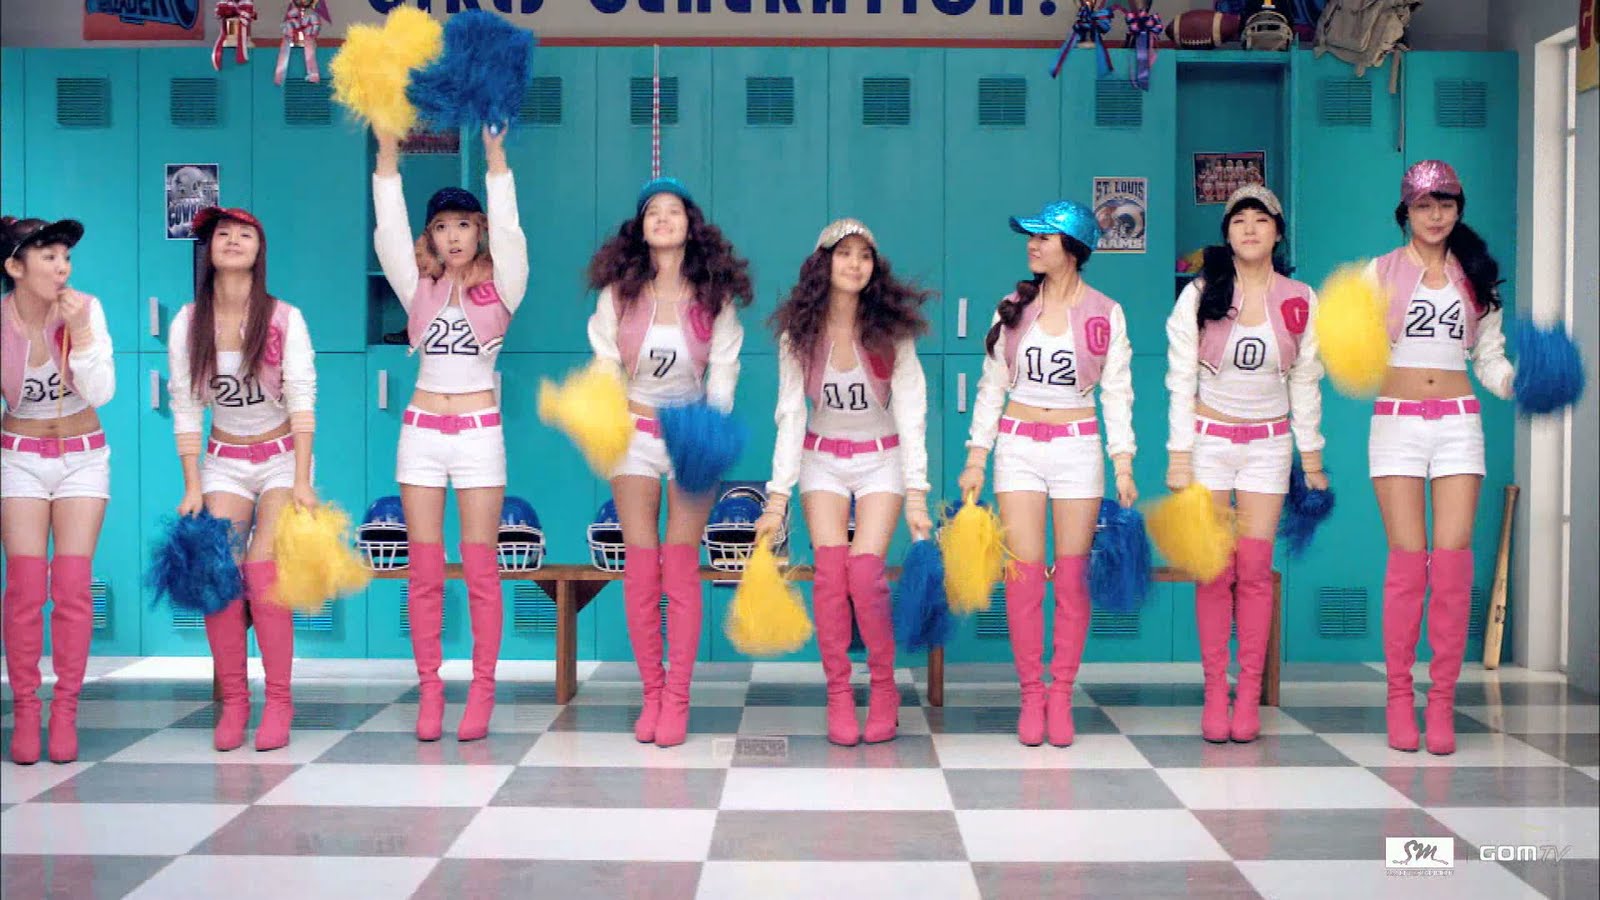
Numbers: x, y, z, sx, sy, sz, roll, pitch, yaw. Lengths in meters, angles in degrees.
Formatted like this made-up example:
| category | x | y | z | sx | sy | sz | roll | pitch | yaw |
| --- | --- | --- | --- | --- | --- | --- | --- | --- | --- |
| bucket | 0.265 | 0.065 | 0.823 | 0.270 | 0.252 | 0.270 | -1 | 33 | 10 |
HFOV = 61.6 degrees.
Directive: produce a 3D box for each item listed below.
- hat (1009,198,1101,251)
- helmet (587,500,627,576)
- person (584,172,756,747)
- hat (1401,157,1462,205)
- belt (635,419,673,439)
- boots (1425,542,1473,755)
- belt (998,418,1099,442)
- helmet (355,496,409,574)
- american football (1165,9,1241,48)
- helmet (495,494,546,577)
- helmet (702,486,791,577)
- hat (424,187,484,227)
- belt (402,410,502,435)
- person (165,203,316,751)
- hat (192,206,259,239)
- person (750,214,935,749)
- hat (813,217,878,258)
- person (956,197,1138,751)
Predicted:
| category | x | y | z | sx | sy | sz | roll | pitch | yaw |
| --- | --- | --- | --- | --- | --- | --- | --- | --- | --- |
| hat | 1.315 | -1.161 | 6.881 | 0.440 | 0.204 | 0.269 | 6 | 11 | -4 |
| helmet | -1.070 | 0.487 | 7.381 | 0.306 | 0.309 | 0.379 | 1 | -3 | -5 |
| person | -0.654 | 0.062 | 6.916 | 0.747 | 2.819 | 0.743 | -4 | 14 | -16 |
| hat | 3.197 | -1.349 | 6.767 | 0.266 | 0.209 | 0.149 | 4 | 14 | 15 |
| belt | -0.777 | -0.111 | 6.832 | 0.093 | 0.058 | 0.120 | 19 | 10 | 20 |
| boots | 3.268 | 0.996 | 6.814 | 0.211 | 1.007 | 0.413 | 6 | 15 | 26 |
| belt | 1.267 | -0.103 | 6.856 | 0.485 | 0.110 | 0.105 | 1 | 14 | 3 |
| helmet | -2.293 | 0.472 | 7.620 | 0.317 | 0.335 | 0.431 | 1 | -4 | -3 |
| american football | 2.486 | -2.563 | 8.245 | 0.353 | 0.187 | 0.249 | -2 | 15 | 11 |
| helmet | -1.566 | 0.483 | 7.428 | 0.298 | 0.303 | 0.378 | 0 | -2 | -1 |
| helmet | -0.274 | 0.448 | 7.437 | 0.395 | 0.438 | 0.499 | 1 | -8 | 5 |
| hat | -1.829 | -1.279 | 7.086 | 0.226 | 0.154 | 0.295 | -4 | -23 | -9 |
| belt | -1.805 | -0.152 | 6.891 | 0.475 | 0.124 | 0.111 | -1 | 14 | -5 |
| person | -2.873 | 0.143 | 6.846 | 0.730 | 2.668 | 0.661 | 7 | 15 | 28 |
| hat | -2.928 | -1.153 | 6.813 | 0.311 | 0.142 | 0.163 | 4 | 14 | 16 |
| person | 0.224 | 0.166 | 6.878 | 0.875 | 2.612 | 0.628 | 0 | 13 | 0 |
| hat | 0.234 | -1.111 | 6.886 | 0.269 | 0.137 | 0.249 | 1 | 14 | 5 |
| person | 1.259 | 0.113 | 6.915 | 0.740 | 2.687 | 0.733 | 12 | 18 | 41 |
